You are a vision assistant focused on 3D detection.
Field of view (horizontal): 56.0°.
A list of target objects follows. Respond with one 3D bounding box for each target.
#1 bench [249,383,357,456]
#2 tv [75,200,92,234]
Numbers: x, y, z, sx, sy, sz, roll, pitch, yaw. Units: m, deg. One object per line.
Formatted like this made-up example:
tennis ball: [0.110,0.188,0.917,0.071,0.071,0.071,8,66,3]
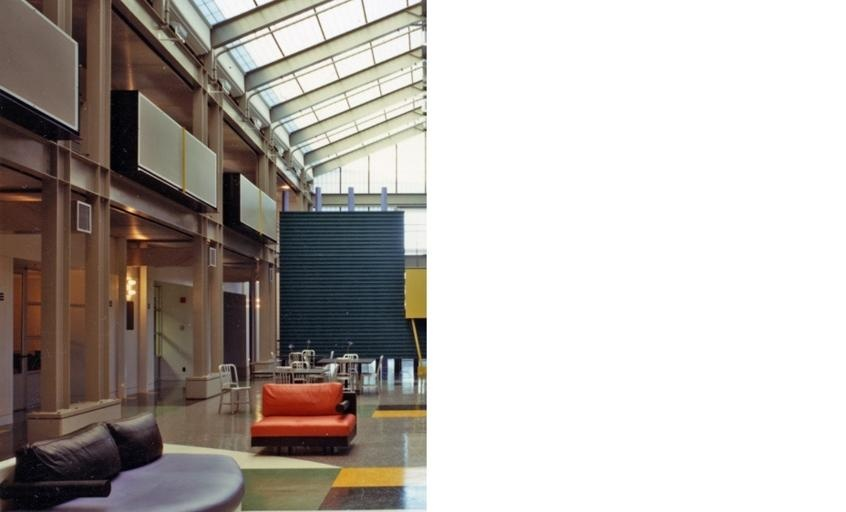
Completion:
bench: [-0.900,1.229,6.107,0.745,0.507,0.795,0,-10,-6]
tv: [-2.871,-0.327,6.718,0.105,0.268,0.292,-2,-3,-7]
